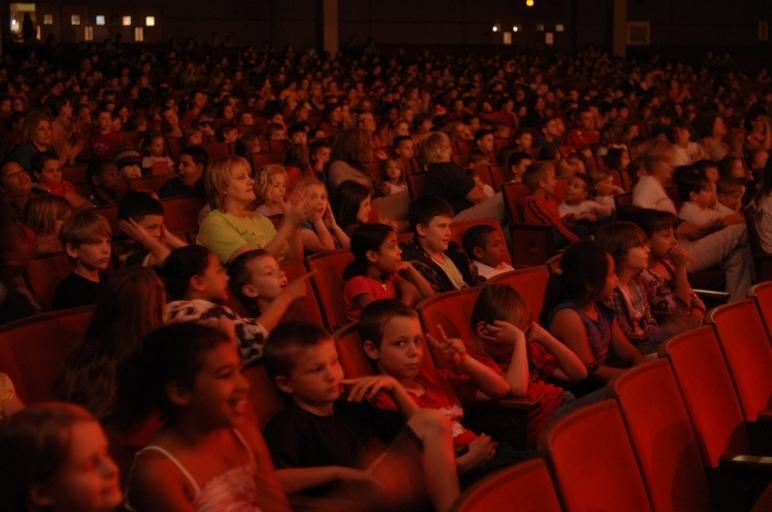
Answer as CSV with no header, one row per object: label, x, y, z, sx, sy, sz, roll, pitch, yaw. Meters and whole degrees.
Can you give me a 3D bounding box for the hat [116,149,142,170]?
hat,-2.660,-1.000,5.936,0.239,0.166,0.235,-4,-1,-28
